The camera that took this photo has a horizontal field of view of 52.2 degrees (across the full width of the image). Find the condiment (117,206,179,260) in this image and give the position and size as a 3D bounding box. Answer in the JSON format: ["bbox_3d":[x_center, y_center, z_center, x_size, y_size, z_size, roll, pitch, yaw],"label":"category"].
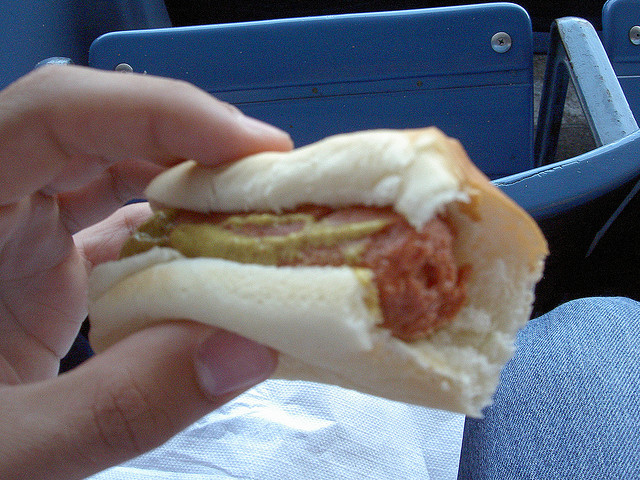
[{"bbox_3d":[-0.479,-0.019,1.858,0.207,0.066,0.105,-55,6,5],"label":"condiment"}]

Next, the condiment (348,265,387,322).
[{"bbox_3d":[0.119,0.139,1.693,0.074,0.155,0.032,-24,8,-32],"label":"condiment"}]
